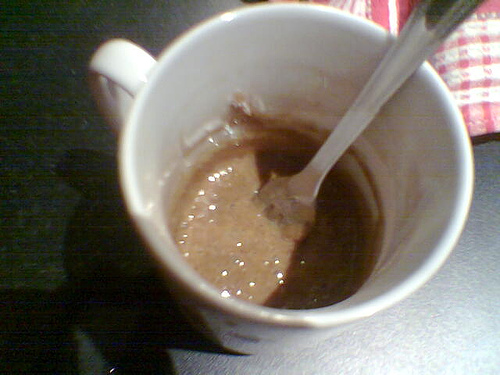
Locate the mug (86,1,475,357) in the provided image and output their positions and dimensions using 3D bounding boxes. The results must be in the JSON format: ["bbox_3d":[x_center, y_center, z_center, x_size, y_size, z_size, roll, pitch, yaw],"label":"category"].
[{"bbox_3d":[0.042,-0.039,0.634,0.377,0.257,0.404,-23,84,-5],"label":"mug"}]
